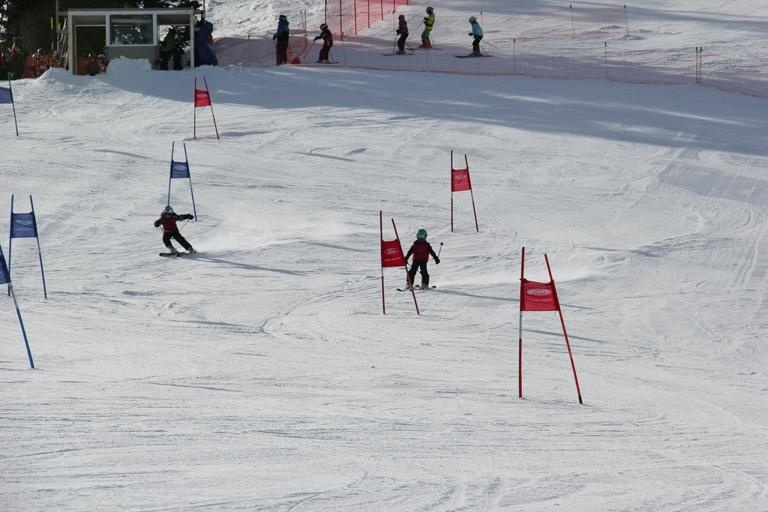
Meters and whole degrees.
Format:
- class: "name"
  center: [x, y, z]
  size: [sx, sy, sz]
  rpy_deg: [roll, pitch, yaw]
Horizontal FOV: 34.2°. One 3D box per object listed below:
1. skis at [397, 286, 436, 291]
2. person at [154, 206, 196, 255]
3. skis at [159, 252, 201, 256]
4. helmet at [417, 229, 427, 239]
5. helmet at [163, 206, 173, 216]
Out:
- class: "skis"
  center: [0.899, 0.902, 34.411]
  size: [1.141, 0.095, 0.240]
  rpy_deg: [0, 13, -8]
- class: "person"
  center: [-6.168, -0.812, 36.774]
  size: [1.094, 1.329, 1.185]
  rpy_deg: [-1, 16, -9]
- class: "skis"
  center: [-5.962, -0.055, 36.532]
  size: [1.128, 0.121, 0.223]
  rpy_deg: [-1, 53, -15]
- class: "helmet"
  center: [1.058, -0.624, 34.757]
  size: [0.337, 0.229, 0.306]
  rpy_deg: [0, -8, -1]
- class: "helmet"
  center: [-6.313, -1.364, 36.638]
  size: [0.346, 0.283, 0.327]
  rpy_deg: [1, -11, -6]
